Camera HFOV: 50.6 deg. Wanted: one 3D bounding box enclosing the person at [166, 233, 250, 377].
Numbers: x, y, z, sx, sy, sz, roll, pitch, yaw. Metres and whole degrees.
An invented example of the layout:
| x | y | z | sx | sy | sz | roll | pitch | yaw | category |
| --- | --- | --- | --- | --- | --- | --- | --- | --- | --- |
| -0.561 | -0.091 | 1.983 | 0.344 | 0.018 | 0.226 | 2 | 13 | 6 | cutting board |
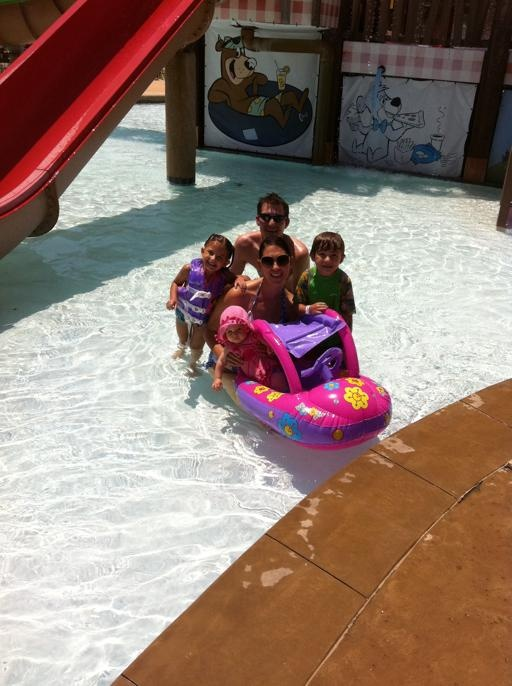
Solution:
| x | y | z | sx | sy | sz | roll | pitch | yaw | category |
| --- | --- | --- | --- | --- | --- | --- | --- | --- | --- |
| -0.349 | -0.222 | 3.518 | 0.474 | 0.959 | 0.311 | 13 | 32 | -7 | person |

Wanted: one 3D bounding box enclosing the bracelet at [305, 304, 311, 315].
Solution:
| x | y | z | sx | sy | sz | roll | pitch | yaw | category |
| --- | --- | --- | --- | --- | --- | --- | --- | --- | --- |
| 0.292 | -0.189 | 3.051 | 0.038 | 0.038 | 0.045 | 1 | 18 | 9 | bracelet |

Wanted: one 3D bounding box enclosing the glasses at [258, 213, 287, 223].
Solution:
| x | y | z | sx | sy | sz | roll | pitch | yaw | category |
| --- | --- | --- | --- | --- | --- | --- | --- | --- | --- |
| 0.101 | -0.808 | 3.488 | 0.185 | 0.058 | 0.097 | 3 | 24 | -2 | glasses |

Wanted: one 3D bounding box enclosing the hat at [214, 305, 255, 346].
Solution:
| x | y | z | sx | sy | sz | roll | pitch | yaw | category |
| --- | --- | --- | --- | --- | --- | --- | --- | --- | --- |
| -0.129 | -0.104 | 2.947 | 0.190 | 0.201 | 0.153 | -7 | 49 | -7 | hat |

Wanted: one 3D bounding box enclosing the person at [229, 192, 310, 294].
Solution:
| x | y | z | sx | sy | sz | roll | pitch | yaw | category |
| --- | --- | --- | --- | --- | --- | --- | --- | --- | --- |
| 0.076 | -0.631 | 3.764 | 0.604 | 0.764 | 0.455 | 0 | 38 | 1 | person |
